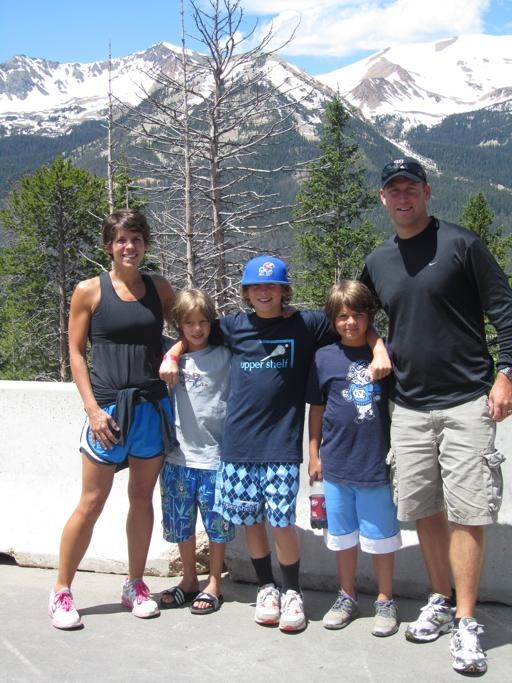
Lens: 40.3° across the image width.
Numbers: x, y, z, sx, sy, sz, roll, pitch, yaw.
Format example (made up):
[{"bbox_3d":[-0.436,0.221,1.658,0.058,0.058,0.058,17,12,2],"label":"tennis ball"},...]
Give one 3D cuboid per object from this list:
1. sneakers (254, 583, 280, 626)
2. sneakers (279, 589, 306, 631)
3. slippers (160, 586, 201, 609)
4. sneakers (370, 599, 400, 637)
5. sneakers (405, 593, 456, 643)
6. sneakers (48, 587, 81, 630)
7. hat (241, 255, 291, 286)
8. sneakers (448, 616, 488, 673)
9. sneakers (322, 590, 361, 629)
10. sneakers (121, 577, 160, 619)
[{"bbox_3d":[0.053,1.235,3.296,0.117,0.173,0.203,2,0,1],"label":"sneakers"},{"bbox_3d":[0.170,1.231,3.218,0.126,0.180,0.226,2,0,2],"label":"sneakers"},{"bbox_3d":[-0.388,1.262,3.442,0.079,0.054,0.170,-2,-10,33],"label":"slippers"},{"bbox_3d":[0.567,1.228,3.081,0.075,0.065,0.179,-1,-1,11],"label":"sneakers"},{"bbox_3d":[0.766,1.205,3.064,0.115,0.136,0.297,5,4,43],"label":"sneakers"},{"bbox_3d":[-0.865,1.196,3.126,0.112,0.166,0.197,2,0,-35],"label":"sneakers"},{"bbox_3d":[0.051,-0.348,3.460,0.157,0.096,0.195,2,-2,4],"label":"hat"},{"bbox_3d":[0.835,1.191,2.744,0.139,0.209,0.196,2,0,17],"label":"sneakers"},{"bbox_3d":[0.392,1.241,3.189,0.083,0.092,0.226,-2,-8,30],"label":"sneakers"},{"bbox_3d":[-0.562,1.217,3.322,0.112,0.168,0.238,2,0,-44],"label":"sneakers"}]
